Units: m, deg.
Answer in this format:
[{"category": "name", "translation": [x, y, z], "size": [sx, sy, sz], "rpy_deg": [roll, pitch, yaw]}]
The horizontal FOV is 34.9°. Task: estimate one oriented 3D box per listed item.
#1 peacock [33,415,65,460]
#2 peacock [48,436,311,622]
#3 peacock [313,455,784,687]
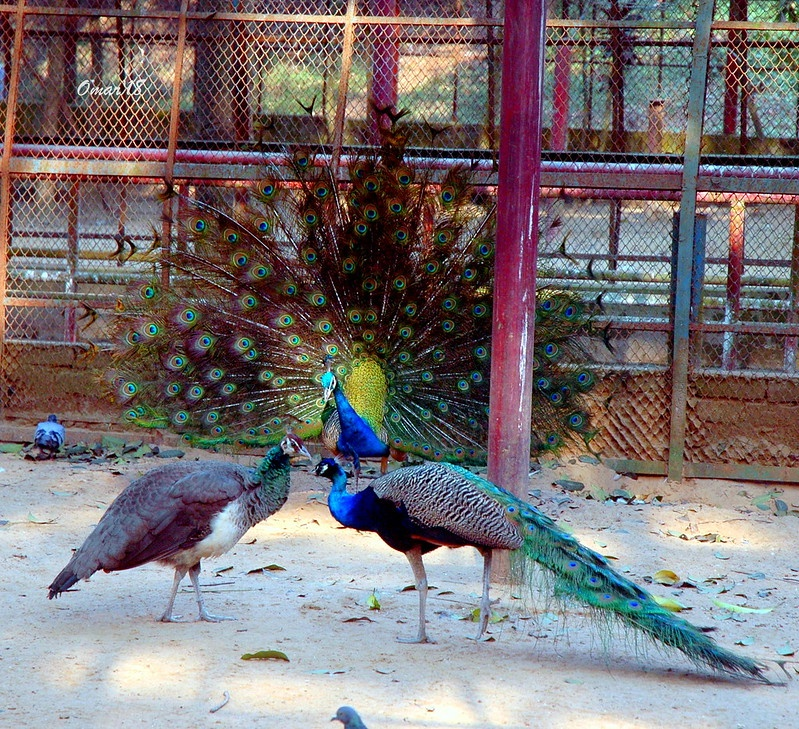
[{"category": "peacock", "translation": [-3.382, 0.715, 12.449], "size": [0.258, 0.348, 0.479], "rpy_deg": [3, 7, -6]}, {"category": "peacock", "translation": [-1.496, 1.174, 8.627], "size": [1.694, 1.136, 0.724], "rpy_deg": [-1, -3, -16]}, {"category": "peacock", "translation": [0.779, 1.294, 8.269], "size": [2.779, 1.158, 0.528], "rpy_deg": [6, 12, 15]}]
